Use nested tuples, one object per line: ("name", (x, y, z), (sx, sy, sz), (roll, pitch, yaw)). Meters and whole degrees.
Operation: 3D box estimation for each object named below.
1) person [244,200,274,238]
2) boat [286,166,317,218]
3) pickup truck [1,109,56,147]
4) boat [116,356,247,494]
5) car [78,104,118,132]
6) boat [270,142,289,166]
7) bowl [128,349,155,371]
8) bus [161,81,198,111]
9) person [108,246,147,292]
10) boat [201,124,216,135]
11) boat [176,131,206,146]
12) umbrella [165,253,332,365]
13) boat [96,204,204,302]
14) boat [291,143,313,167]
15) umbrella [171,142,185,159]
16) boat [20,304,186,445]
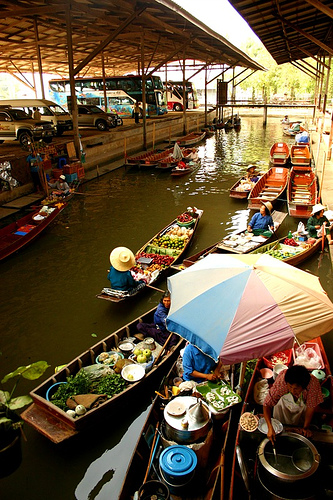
("person", (2.806, -0.966, 9.508), (0.606, 0.604, 1.168), (4, 33, 10))
("boat", (5.391, -2.611, 12.877), (1.120, 0.615, 4.722), (3, 39, 17))
("pickup truck", (-7.389, -6.458, 16.854), (2.363, 1.868, 1.722), (7, 23, 30))
("boat", (0.362, 1.810, 3.961), (0.845, 0.933, 2.479), (10, 19, 19))
("car", (-5.227, -9.889, 24.148), (2.768, 1.918, 1.562), (8, 24, 30))
("boat", (6.031, -5.070, 17.106), (0.966, 1.053, 1.810), (3, 21, 19))
("bowl", (-0.362, 1.669, 4.985), (0.270, 0.189, 0.286), (3, 19, -1))
("bus", (1.562, -17.310, 35.558), (3.421, 3.229, 11.918), (-3, 20, 4))
("person", (-0.904, 0.399, 6.955), (0.733, 0.998, 0.476), (-8, 20, -10))
("boat", (3.936, -11.400, 30.698), (1.033, 0.467, 1.427), (-2, 40, -14))
("boat", (2.067, -8.683, 24.959), (1.045, 0.567, 3.326), (29, 46, 21))
("umbrella", (0.819, 0.583, 3.522), (1.481, 0.546, 1.523), (20, 39, 35))
("boat", (-0.333, 0.068, 8.238), (1.481, 0.515, 2.927), (8, 33, 19))
("boat", (7.358, -5.173, 17.444), (1.161, 0.725, 2.444), (7, 45, 15))
("umbrella", (0.693, -5.858, 18.904), (0.846, 0.875, 0.858), (10, 45, 23))
("boat", (-0.672, 1.733, 4.776), (0.924, 0.501, 2.856), (25, 34, 26))
